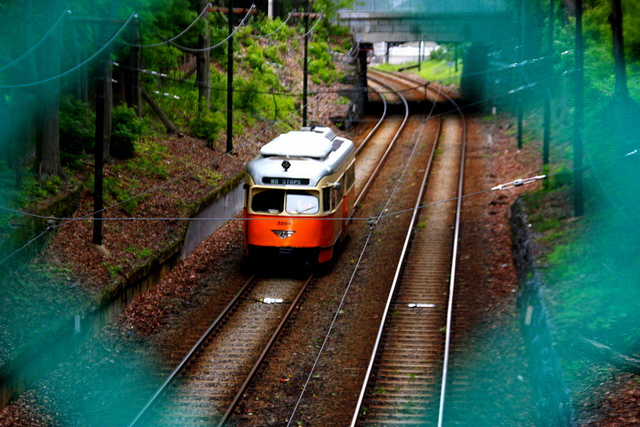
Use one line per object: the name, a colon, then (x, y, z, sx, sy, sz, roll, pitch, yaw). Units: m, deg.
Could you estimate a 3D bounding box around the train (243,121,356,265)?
train: (-0.699, -0.490, 33.564, 3.346, 4.969, 5.425, 5, 23, 21)
